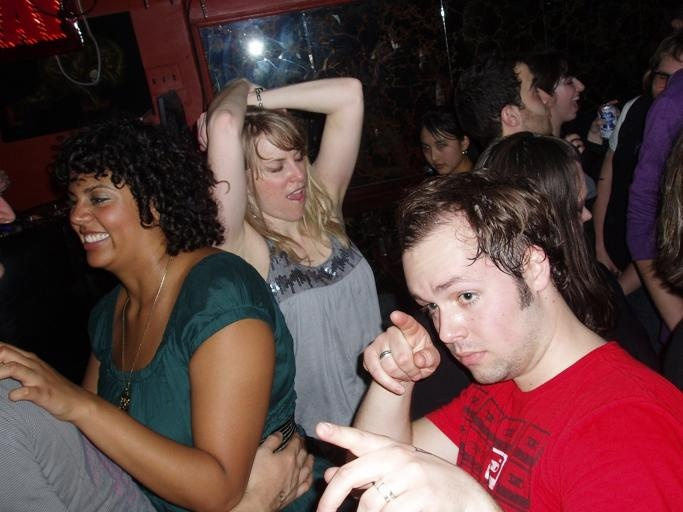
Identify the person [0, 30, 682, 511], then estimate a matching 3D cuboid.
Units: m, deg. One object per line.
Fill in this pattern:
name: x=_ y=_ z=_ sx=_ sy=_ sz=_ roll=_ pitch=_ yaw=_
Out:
person: x=-0.093 y=0.003 z=2.256 sx=2.431 sy=1.265 sz=0.733 roll=-10 pitch=39 yaw=-37
